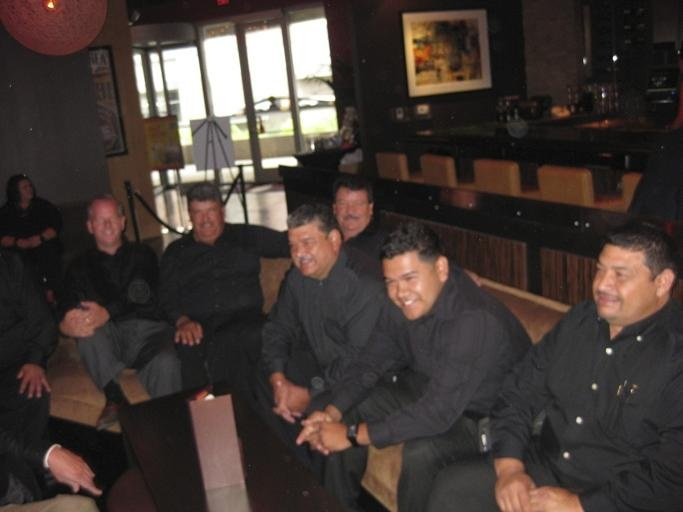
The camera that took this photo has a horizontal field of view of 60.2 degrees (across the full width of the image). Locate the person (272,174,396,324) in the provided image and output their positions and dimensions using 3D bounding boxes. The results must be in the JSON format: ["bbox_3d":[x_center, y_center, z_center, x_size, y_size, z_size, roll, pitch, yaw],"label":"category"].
[{"bbox_3d":[0.068,-0.001,3.994,0.457,1.060,0.371,3,5,8],"label":"person"}]

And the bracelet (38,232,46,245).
[{"bbox_3d":[-2.750,-0.170,5.414,0.019,0.060,0.062,0,16,21],"label":"bracelet"}]

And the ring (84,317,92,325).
[{"bbox_3d":[-1.509,0.384,3.515,0.030,0.042,0.013,-11,15,-23],"label":"ring"}]

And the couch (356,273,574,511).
[{"bbox_3d":[0.535,0.644,3.204,1.064,0.858,1.067,-5,16,-17],"label":"couch"}]

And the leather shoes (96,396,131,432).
[{"bbox_3d":[-1.347,0.929,3.451,0.161,0.137,0.183,-5,13,2],"label":"leather shoes"}]

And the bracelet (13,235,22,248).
[{"bbox_3d":[-2.939,-0.123,5.352,0.090,0.090,0.042,8,19,44],"label":"bracelet"}]

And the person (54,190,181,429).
[{"bbox_3d":[-1.400,0.338,3.750,0.802,1.374,0.746,2,11,30],"label":"person"}]

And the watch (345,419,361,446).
[{"bbox_3d":[0.053,0.807,2.689,0.060,0.096,0.097,0,-8,7],"label":"watch"}]

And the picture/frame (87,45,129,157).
[{"bbox_3d":[-3.213,-2.140,8.150,0.293,1.494,0.230,-9,14,-14],"label":"picture/frame"}]

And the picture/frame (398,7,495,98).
[{"bbox_3d":[1.366,-2.828,8.086,1.318,1.073,0.049,-10,11,-26],"label":"picture/frame"}]
